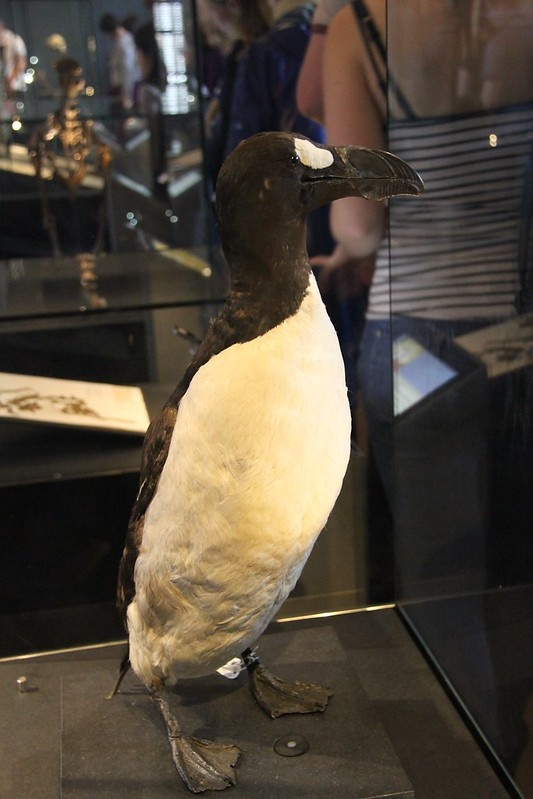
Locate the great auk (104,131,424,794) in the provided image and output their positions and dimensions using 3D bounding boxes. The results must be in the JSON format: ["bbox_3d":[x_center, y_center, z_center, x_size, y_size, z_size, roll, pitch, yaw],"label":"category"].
[{"bbox_3d":[-0.038,0.129,1.182,0.491,1.019,0.198,2,15,9],"label":"great auk"}]
